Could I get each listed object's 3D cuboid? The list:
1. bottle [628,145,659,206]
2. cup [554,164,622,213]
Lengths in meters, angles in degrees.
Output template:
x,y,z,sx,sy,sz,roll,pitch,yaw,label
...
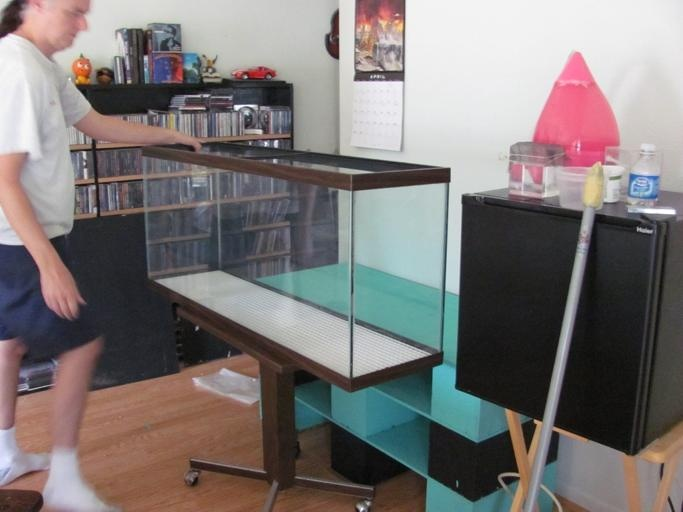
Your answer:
x,y,z,sx,sy,sz,roll,pitch,yaw,label
0.807,-0.218,1.535,0.070,0.158,0.083,9,17,24,bottle
0.658,-0.187,1.579,0.164,0.086,0.143,-3,10,-14,cup
